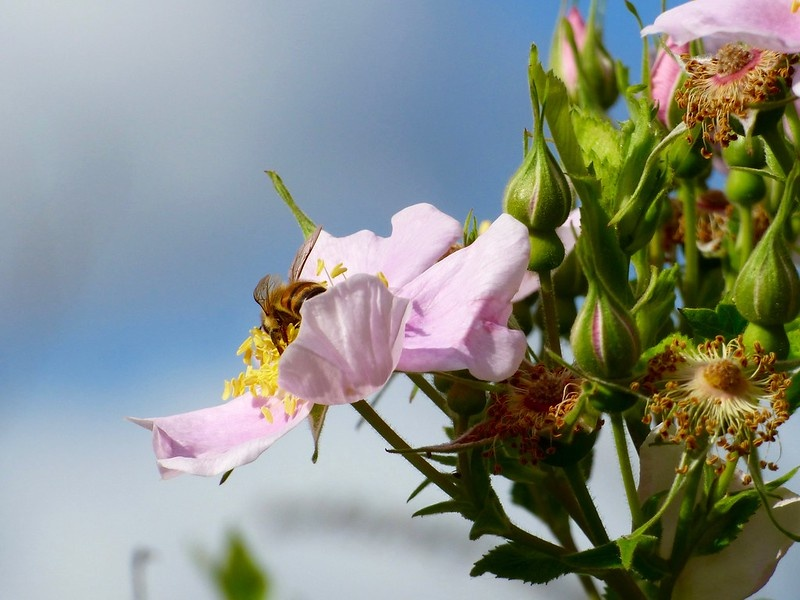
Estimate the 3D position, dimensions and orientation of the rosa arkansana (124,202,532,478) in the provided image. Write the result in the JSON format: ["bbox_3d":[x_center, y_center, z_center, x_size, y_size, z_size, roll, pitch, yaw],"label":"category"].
[{"bbox_3d":[-0.037,-0.021,0.717,0.150,0.062,0.161,-29,26,34],"label":"rosa arkansana"}]

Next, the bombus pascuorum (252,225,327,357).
[{"bbox_3d":[-0.056,0.001,0.754,0.049,0.021,0.058,-53,22,-16],"label":"bombus pascuorum"}]
